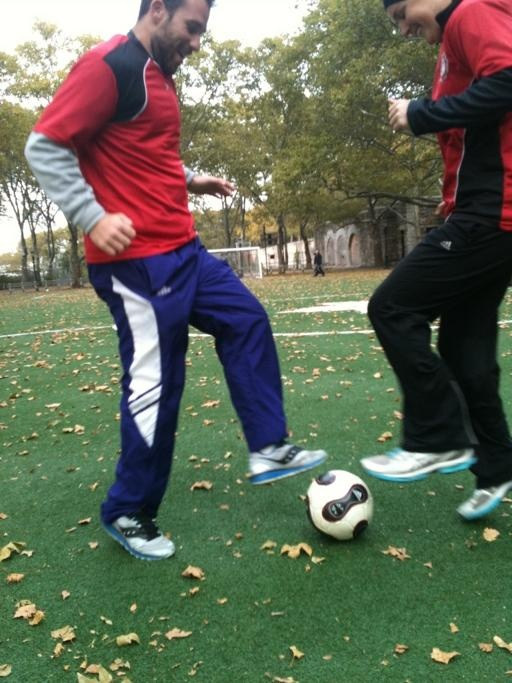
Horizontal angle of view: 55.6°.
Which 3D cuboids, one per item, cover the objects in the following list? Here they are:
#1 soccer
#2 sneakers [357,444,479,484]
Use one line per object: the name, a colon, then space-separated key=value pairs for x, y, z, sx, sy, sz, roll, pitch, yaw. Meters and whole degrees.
soccer: x=0.334 y=0.661 z=1.984 sx=0.273 sy=0.261 sz=0.248 roll=11 pitch=4 yaw=6
sneakers: x=0.639 y=0.465 z=1.953 sx=0.430 sy=0.194 sz=0.158 roll=-2 pitch=-2 yaw=3
